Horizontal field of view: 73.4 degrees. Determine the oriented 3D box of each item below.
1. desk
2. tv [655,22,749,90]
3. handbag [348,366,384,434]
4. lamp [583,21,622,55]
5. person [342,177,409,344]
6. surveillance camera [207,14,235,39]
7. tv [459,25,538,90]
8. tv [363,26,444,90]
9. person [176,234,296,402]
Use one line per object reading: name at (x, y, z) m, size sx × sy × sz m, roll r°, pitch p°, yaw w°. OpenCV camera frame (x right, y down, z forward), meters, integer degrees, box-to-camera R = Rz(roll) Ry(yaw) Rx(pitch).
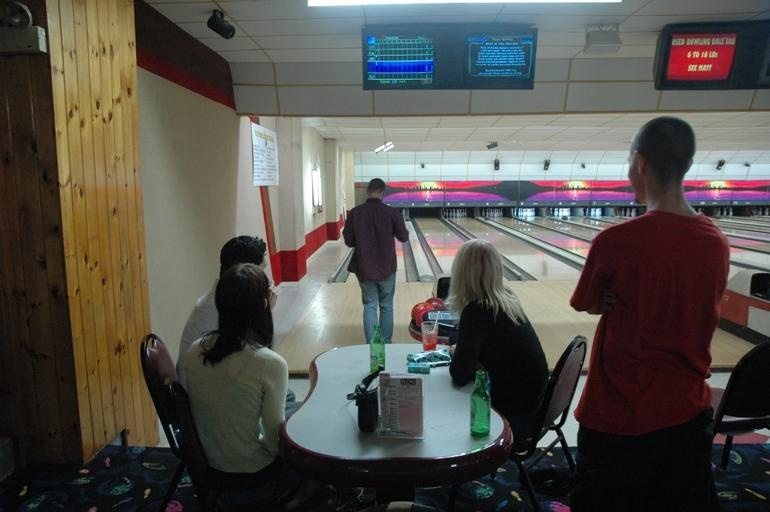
desk at (0.037, 0.953, 3.016) m, size 1.165 × 0.391 × 1.700 m, roll 1°, pitch 6°, yaw 4°
tv at (2.657, -1.684, 4.408) m, size 0.678 × 0.476 × 0.499 m, roll 3°, pitch 16°, yaw 11°
handbag at (-0.076, 0.695, 2.472) m, size 0.249 × 0.182 × 0.223 m, roll -4°, pitch 32°, yaw 10°
lamp at (1.864, -1.840, 4.398) m, size 0.320 × 0.204 × 0.224 m, roll 0°, pitch 8°, yaw 6°
person at (-0.091, 0.064, 4.932) m, size 0.507 × 1.578 × 0.489 m, roll -8°, pitch 11°, yaw -36°
surveillance camera at (-1.307, -1.821, 4.081) m, size 0.082 × 0.150 × 0.142 m, roll -24°, pitch 30°, yaw 47°
tv at (0.906, -1.620, 4.171) m, size 0.549 × 0.383 × 0.073 m, roll 1°, pitch 10°, yaw 4°
tv at (0.111, -1.581, 4.151) m, size 0.585 × 0.444 × 0.078 m, roll -2°, pitch 9°, yaw -6°
person at (-0.974, 0.415, 3.357) m, size 0.862 × 1.116 × 0.645 m, roll 6°, pitch 5°, yaw -17°
